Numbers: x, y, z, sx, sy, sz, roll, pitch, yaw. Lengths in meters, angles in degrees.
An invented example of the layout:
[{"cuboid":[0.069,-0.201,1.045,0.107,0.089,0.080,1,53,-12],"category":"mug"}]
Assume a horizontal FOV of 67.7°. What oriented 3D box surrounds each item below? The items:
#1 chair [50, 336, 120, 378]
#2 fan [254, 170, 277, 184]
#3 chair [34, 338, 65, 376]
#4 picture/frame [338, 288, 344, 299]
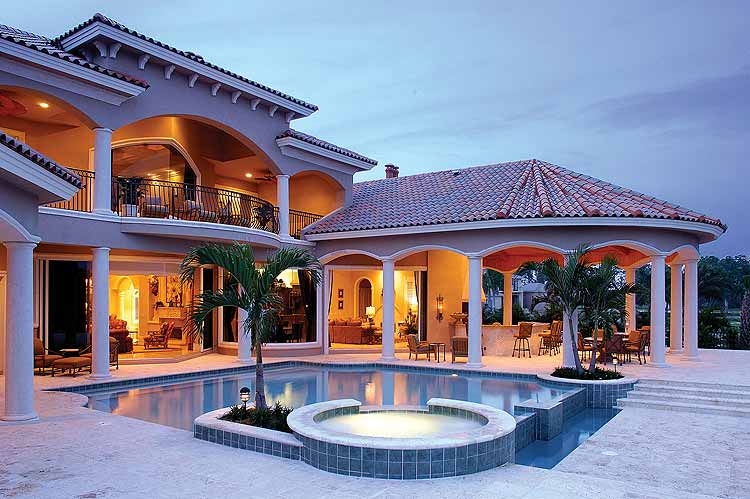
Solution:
[{"cuboid":[-9.649,3.650,18.668,1.175,1.084,1.696,-4,-11,20],"category":"chair"},{"cuboid":[-5.266,-3.494,26.860,1.121,0.432,0.996,-2,-10,8],"category":"fan"},{"cuboid":[-10.906,3.534,18.562,0.728,1.112,2.128,6,-10,-30],"category":"chair"},{"cuboid":[-1.872,2.343,30.326,0.545,0.691,0.070,7,-11,-42],"category":"picture/frame"}]
